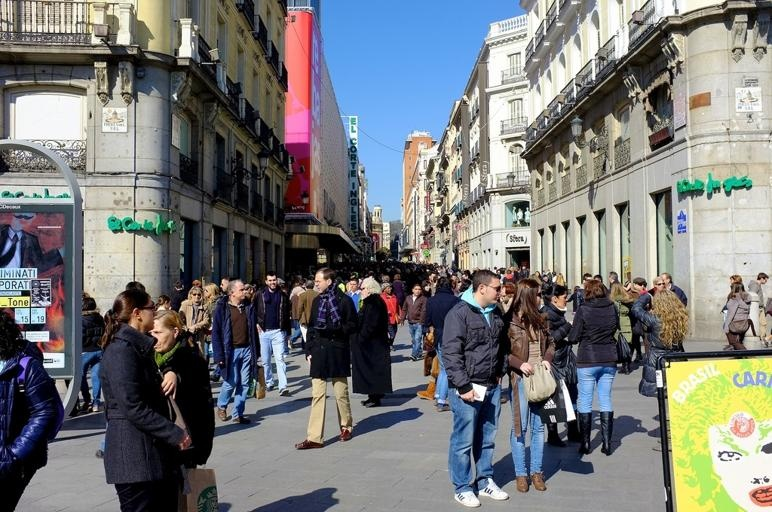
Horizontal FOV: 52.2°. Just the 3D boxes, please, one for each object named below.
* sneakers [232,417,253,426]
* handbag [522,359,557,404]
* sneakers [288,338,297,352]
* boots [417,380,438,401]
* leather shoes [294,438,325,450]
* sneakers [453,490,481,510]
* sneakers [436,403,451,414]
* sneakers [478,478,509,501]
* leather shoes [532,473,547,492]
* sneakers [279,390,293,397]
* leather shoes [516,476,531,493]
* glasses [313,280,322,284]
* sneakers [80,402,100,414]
[{"bbox_3d":[-2.746,3.153,15.244,0.358,0.177,0.157,-3,1,19],"label":"sneakers"},{"bbox_3d":[2.397,1.969,12.356,0.561,0.657,0.304,-2,-13,-30],"label":"handbag"},{"bbox_3d":[-2.861,2.776,24.336,0.158,0.570,0.207,-7,22,-14],"label":"sneakers"},{"bbox_3d":[0.921,2.881,17.144,0.524,0.420,0.218,3,0,43],"label":"boots"},{"bbox_3d":[-1.336,3.262,13.776,0.473,0.253,0.183,5,-5,-4],"label":"leather shoes"},{"bbox_3d":[1.251,3.657,11.964,0.172,0.194,0.397,-1,0,-43],"label":"sneakers"},{"bbox_3d":[1.194,3.041,15.948,0.293,0.146,0.114,-5,1,-6],"label":"sneakers"},{"bbox_3d":[1.645,3.559,12.231,0.502,0.268,0.231,7,10,26],"label":"sneakers"},{"bbox_3d":[2.475,3.502,12.407,0.291,0.226,0.265,-4,7,-28],"label":"leather shoes"},{"bbox_3d":[-2.180,2.981,17.302,0.116,0.132,0.279,5,-20,-27],"label":"sneakers"},{"bbox_3d":[2.154,3.528,12.315,0.177,0.219,0.130,0,6,5],"label":"leather shoes"},{"bbox_3d":[-1.204,0.467,14.394,0.121,0.042,0.124,-2,2,-15],"label":"glasses"},{"bbox_3d":[-5.939,3.053,15.948,0.163,0.215,0.437,1,-2,-43],"label":"sneakers"}]
